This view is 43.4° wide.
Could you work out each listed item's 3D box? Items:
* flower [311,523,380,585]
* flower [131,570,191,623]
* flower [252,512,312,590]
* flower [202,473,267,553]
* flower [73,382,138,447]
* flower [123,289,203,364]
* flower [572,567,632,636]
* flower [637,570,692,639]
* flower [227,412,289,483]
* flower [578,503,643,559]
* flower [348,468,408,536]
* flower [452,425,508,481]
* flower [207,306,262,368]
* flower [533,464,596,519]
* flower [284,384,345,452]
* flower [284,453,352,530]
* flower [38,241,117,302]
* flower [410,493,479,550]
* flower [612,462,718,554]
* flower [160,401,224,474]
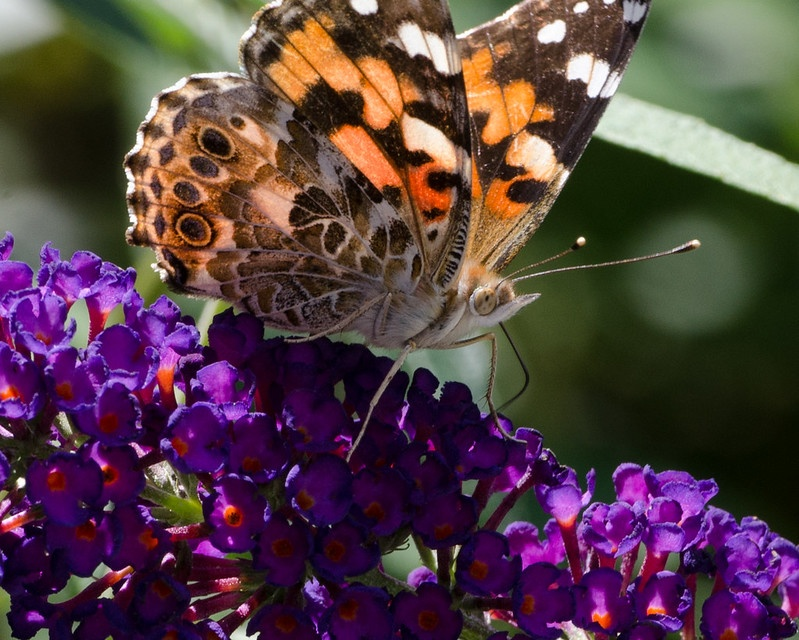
[{"bbox_3d":[-0.095,0.401,1.778,0.104,0.116,0.094,-21,80,6],"label":"flower"},{"bbox_3d":[-0.412,0.472,1.709,0.084,0.033,0.090,37,89,11],"label":"flower"},{"bbox_3d":[-0.199,0.397,1.754,0.090,0.135,0.114,16,86,11],"label":"flower"},{"bbox_3d":[-0.286,0.329,1.729,0.116,0.066,0.132,0,76,-4],"label":"flower"},{"bbox_3d":[-0.494,0.164,1.706,0.098,0.044,0.095,44,91,11],"label":"flower"},{"bbox_3d":[-0.430,0.020,1.889,0.061,0.129,0.144,-38,116,14],"label":"flower"},{"bbox_3d":[0.372,0.505,1.818,0.112,0.058,0.114,18,80,12],"label":"flower"},{"bbox_3d":[0.481,0.502,1.812,0.096,0.064,0.108,10,69,22],"label":"flower"},{"bbox_3d":[-0.251,0.219,1.755,0.092,0.051,0.118,-1,83,9],"label":"flower"},{"bbox_3d":[0.404,0.385,1.906,0.104,0.064,0.108,-9,53,9],"label":"flower"},{"bbox_3d":[-0.035,0.322,1.803,0.098,0.071,0.114,-6,82,8],"label":"flower"},{"bbox_3d":[0.152,0.245,1.899,0.097,0.038,0.097,-7,82,8],"label":"flower"},{"bbox_3d":[-0.322,0.031,1.959,0.095,0.075,0.118,-7,82,8],"label":"flower"},{"bbox_3d":[0.357,0.369,2.180,0.114,0.492,0.105,1,83,10],"label":"flower"},{"bbox_3d":[-0.161,0.181,1.832,0.107,0.078,0.109,5,84,9],"label":"flower"},{"bbox_3d":[-0.148,0.295,1.774,0.106,0.058,0.109,-24,76,-24],"label":"flower"},{"bbox_3d":[-0.614,-0.099,1.913,0.108,0.119,0.062,29,101,30],"label":"flower"},{"bbox_3d":[0.082,0.362,1.840,0.099,0.049,0.111,10,48,31],"label":"flower"},{"bbox_3d":[0.504,0.348,1.922,0.165,0.190,0.087,13,93,30],"label":"flower"},{"bbox_3d":[-0.353,0.201,1.733,0.097,0.059,0.120,-8,82,8],"label":"flower"}]
